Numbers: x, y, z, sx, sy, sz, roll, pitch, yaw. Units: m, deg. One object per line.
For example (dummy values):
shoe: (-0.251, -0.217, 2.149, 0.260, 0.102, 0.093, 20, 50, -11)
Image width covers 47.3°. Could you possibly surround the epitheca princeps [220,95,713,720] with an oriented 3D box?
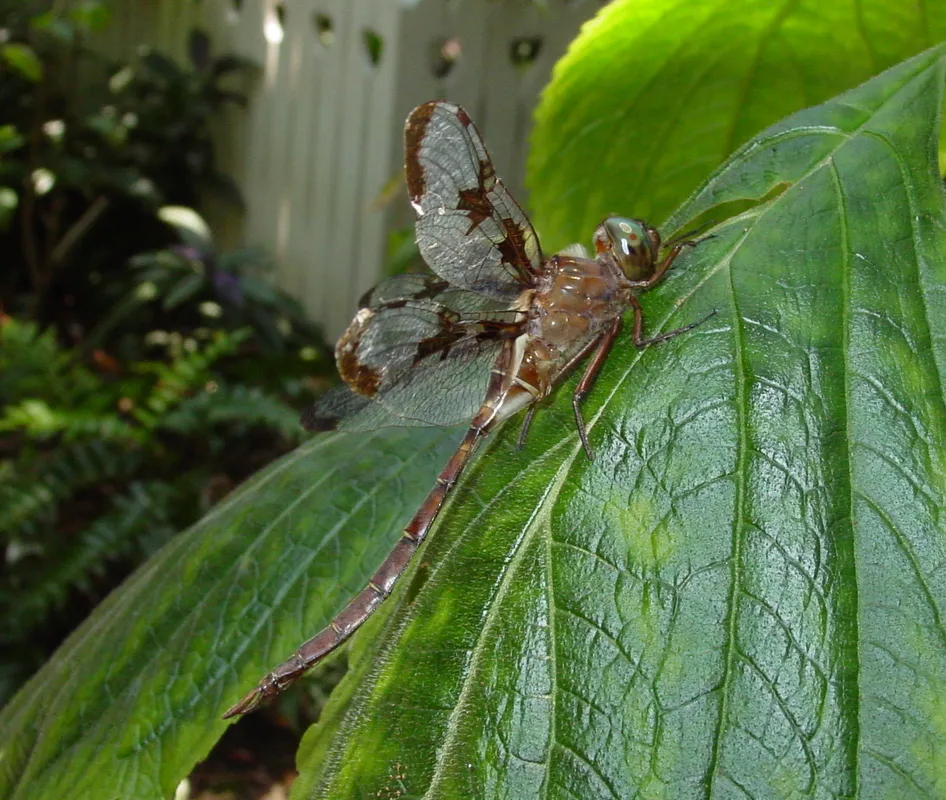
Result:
epitheca princeps: (-0.002, -0.036, 1.108, 0.493, 0.529, 0.348, -11, 17, 11)
